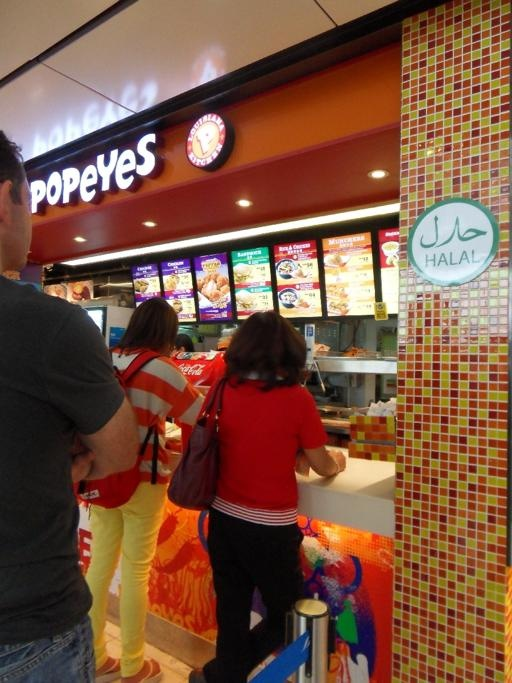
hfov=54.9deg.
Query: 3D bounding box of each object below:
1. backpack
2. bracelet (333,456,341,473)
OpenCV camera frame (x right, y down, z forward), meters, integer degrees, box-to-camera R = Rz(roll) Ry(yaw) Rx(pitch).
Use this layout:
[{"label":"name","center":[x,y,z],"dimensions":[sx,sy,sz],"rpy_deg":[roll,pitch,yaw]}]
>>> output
[{"label":"backpack","center":[-0.536,0.440,2.103],"dimensions":[0.257,0.490,0.293],"rpy_deg":[3,2,-19]},{"label":"bracelet","center":[0.305,0.467,1.857],"dimensions":[0.040,0.054,0.020],"rpy_deg":[-1,-26,8]}]
